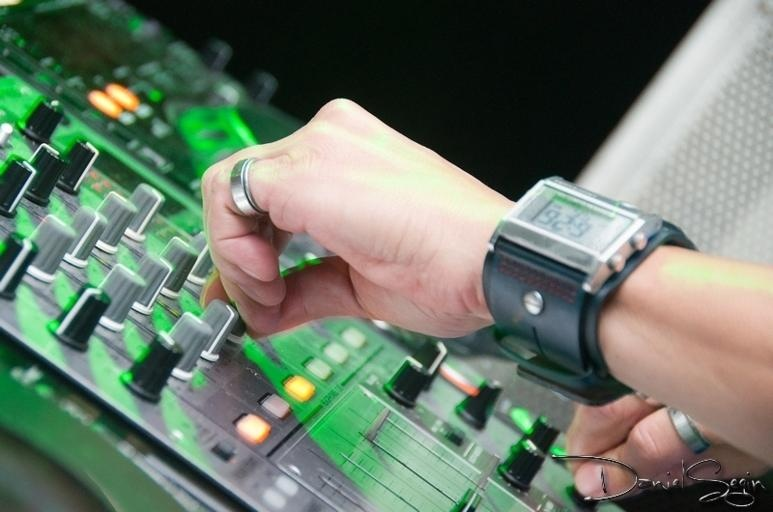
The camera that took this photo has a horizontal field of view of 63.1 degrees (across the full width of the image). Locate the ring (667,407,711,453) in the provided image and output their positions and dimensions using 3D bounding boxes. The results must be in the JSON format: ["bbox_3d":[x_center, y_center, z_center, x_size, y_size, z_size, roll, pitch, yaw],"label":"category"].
[{"bbox_3d":[0.399,0.235,0.837,0.013,0.054,0.054,-38,37,5],"label":"ring"}]
